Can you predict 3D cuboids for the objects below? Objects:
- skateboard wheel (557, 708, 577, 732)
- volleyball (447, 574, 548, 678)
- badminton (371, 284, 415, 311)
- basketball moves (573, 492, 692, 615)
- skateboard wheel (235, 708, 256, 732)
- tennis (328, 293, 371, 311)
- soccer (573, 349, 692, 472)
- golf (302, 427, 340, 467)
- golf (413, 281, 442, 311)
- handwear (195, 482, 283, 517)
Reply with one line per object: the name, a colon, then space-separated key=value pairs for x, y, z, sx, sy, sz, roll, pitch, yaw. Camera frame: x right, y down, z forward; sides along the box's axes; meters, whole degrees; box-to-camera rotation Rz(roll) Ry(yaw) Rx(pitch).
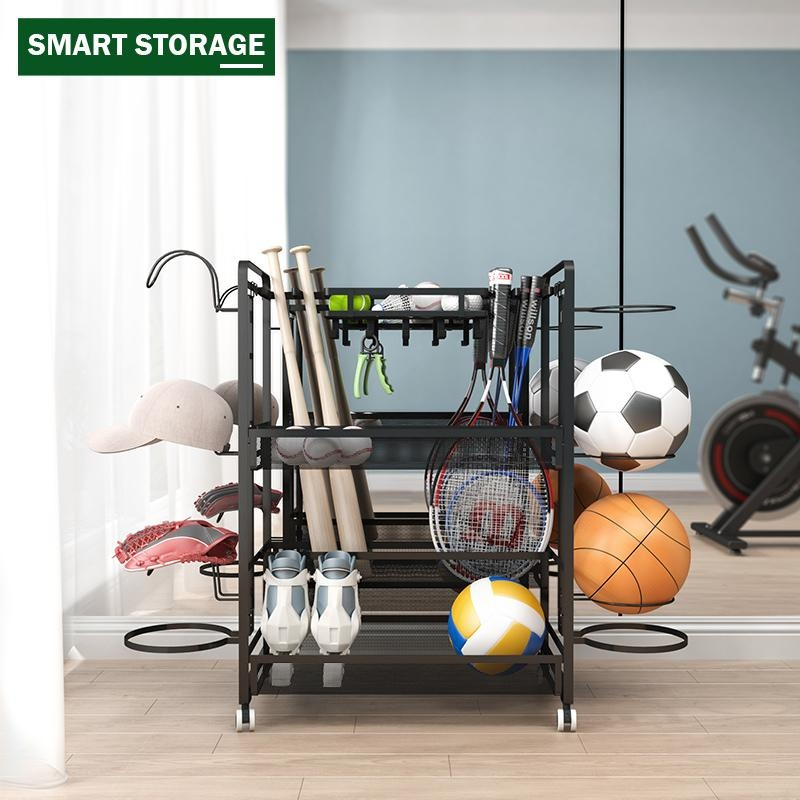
skateboard wheel: x=0.396 y=0.744 z=2.136 sx=0.046 sy=0.053 sz=0.049 roll=0 pitch=11 yaw=0
volleyball: x=0.218 y=0.501 z=2.109 sx=0.216 sy=0.211 sz=0.208 roll=0 pitch=-4 yaw=-9
badminton: x=-0.017 y=-0.240 z=2.213 sx=0.106 sy=0.065 sz=0.054 roll=-5 pitch=32 yaw=-4
basketball moves: x=0.557 y=0.370 z=2.314 sx=0.268 sy=0.284 sz=0.281 roll=19 pitch=-2 yaw=2
skateboard wheel: x=-0.363 y=0.746 z=2.119 sx=0.048 sy=0.063 sz=0.065 roll=1 pitch=2 yaw=-7
tennis: x=-0.118 y=-0.233 z=2.162 sx=0.103 sy=0.037 sz=0.092 roll=-1 pitch=11 yaw=-3
soccer: x=0.529 y=0.044 z=2.292 sx=0.287 sy=0.320 sz=0.277 roll=-2 pitch=-25 yaw=3
golf: x=-0.191 y=0.109 z=2.199 sx=0.091 sy=0.107 sz=0.093 roll=-1 pitch=4 yaw=-4
golf: x=0.065 y=-0.252 z=2.213 sx=0.072 sy=0.074 sz=0.070 roll=2 pitch=7 yaw=0
handwear: x=-0.461 y=0.274 z=2.535 sx=0.208 sy=0.077 sz=0.128 roll=1 pitch=-1 yaw=-4
